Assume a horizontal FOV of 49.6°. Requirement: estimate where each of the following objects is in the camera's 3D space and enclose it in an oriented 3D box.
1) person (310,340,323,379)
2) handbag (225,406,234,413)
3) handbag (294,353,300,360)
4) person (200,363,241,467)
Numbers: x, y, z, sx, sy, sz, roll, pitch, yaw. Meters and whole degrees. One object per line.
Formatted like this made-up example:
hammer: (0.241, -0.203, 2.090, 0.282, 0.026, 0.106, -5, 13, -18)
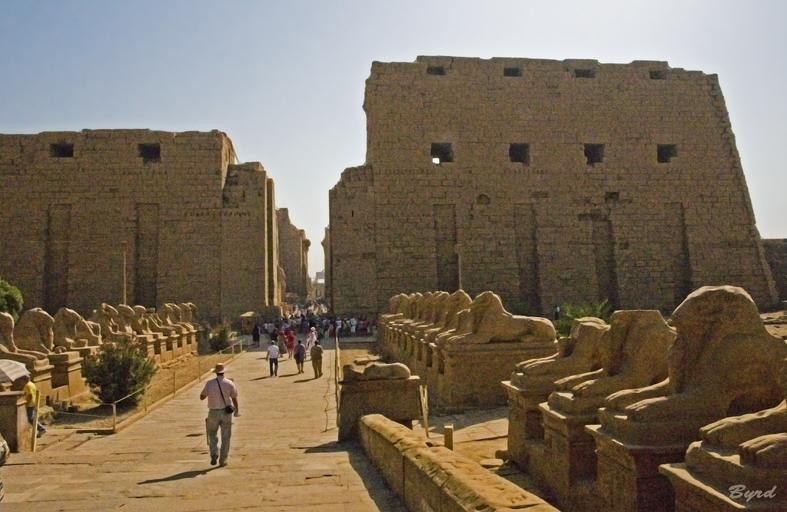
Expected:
person: (-2.052, 2.786, 23.017, 0.312, 0.976, 1.342, -5, 8, -7)
handbag: (-3.012, 2.849, 15.853, 0.123, 0.121, 0.134, -3, -1, 27)
handbag: (-2.684, 2.842, 23.869, 0.086, 0.201, 0.229, -10, 10, -34)
person: (-3.226, 2.948, 15.829, 0.583, 1.716, 0.896, -3, 8, 9)
